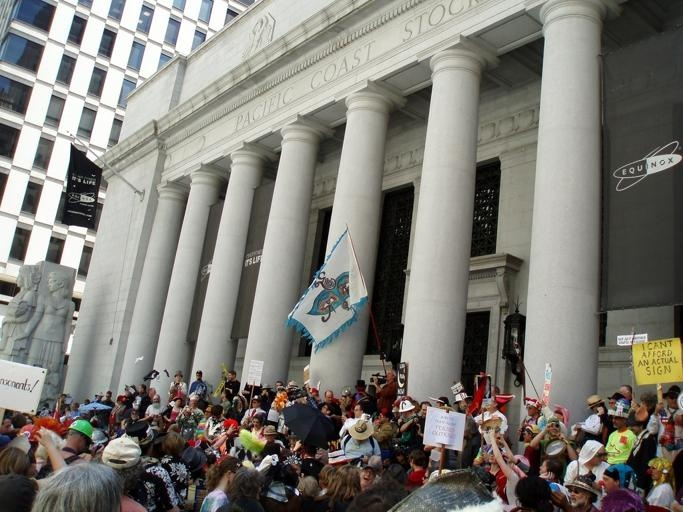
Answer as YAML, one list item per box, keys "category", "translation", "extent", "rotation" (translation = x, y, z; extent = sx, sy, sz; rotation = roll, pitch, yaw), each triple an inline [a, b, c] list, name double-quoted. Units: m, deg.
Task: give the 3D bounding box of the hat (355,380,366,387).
- category: "hat"
  translation: [0.567, 3.762, 13.647]
  extent: [0.353, 0.196, 0.389]
  rotation: [2, -5, -13]

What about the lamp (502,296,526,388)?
- category: "lamp"
  translation: [5.569, 2.943, 15.304]
  extent: [0.843, 2.348, 0.803]
  rotation: [8, -11, -9]

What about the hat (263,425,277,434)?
- category: "hat"
  translation: [-1.219, 3.072, 8.129]
  extent: [0.273, 0.102, 0.271]
  rotation: [9, -14, -23]

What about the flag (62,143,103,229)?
- category: "flag"
  translation: [-15.349, -4.136, 27.426]
  extent: [1.912, 5.170, 1.560]
  rotation: [12, -17, -26]

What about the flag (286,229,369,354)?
- category: "flag"
  translation: [-0.276, 1.053, 15.365]
  extent: [2.200, 4.077, 0.737]
  rotation: [1, -16, 10]

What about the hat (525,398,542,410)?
- category: "hat"
  translation: [3.686, 2.843, 8.885]
  extent: [0.350, 0.138, 0.357]
  rotation: [7, -11, -7]
